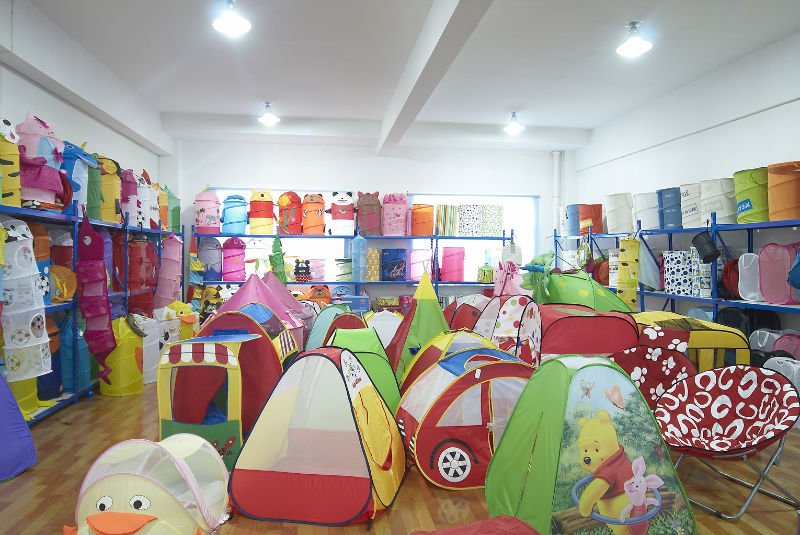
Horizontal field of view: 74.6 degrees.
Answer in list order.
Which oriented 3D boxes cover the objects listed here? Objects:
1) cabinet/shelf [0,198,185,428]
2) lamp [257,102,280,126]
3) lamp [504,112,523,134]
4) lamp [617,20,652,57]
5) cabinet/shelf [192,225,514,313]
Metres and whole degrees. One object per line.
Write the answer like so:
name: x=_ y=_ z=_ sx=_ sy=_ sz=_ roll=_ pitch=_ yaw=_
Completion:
cabinet/shelf: x=-2.778 y=0.442 z=4.662 sx=0.593 sy=1.913 sz=1.950 roll=1 pitch=-2 yaw=7
lamp: x=-1.630 y=-1.913 z=6.582 sx=0.293 sy=0.300 sz=0.330 roll=-1 pitch=-2 yaw=-23
lamp: x=1.490 y=-1.873 z=6.866 sx=0.287 sy=0.297 sz=0.239 roll=-2 pitch=13 yaw=-1
lamp: x=2.231 y=-2.126 z=4.989 sx=0.283 sy=0.303 sz=0.274 roll=-9 pitch=3 yaw=3
cabinet/shelf: x=-0.462 y=-0.019 z=7.577 sx=4.028 sy=0.889 sz=0.779 roll=0 pitch=2 yaw=-5
